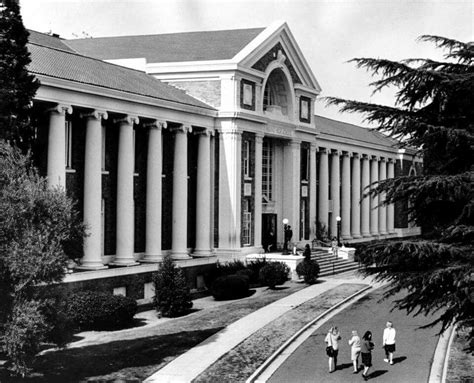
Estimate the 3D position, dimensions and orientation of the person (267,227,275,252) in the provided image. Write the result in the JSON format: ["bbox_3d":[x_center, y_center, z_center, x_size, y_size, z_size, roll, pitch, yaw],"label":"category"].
[{"bbox_3d":[2.546,3.597,50.541,0.470,1.671,1.425,3,4,12],"label":"person"}]

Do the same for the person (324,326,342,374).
[{"bbox_3d":[3.475,5.603,24.099,0.496,1.535,2.232,3,4,10],"label":"person"}]

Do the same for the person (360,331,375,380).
[{"bbox_3d":[4.443,5.600,22.659,0.390,1.483,1.157,3,4,12],"label":"person"}]

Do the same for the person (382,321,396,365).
[{"bbox_3d":[5.606,5.539,24.331,0.436,1.643,1.076,3,4,13],"label":"person"}]

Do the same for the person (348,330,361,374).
[{"bbox_3d":[4.201,5.620,23.533,0.395,1.495,1.790,3,4,10],"label":"person"}]
